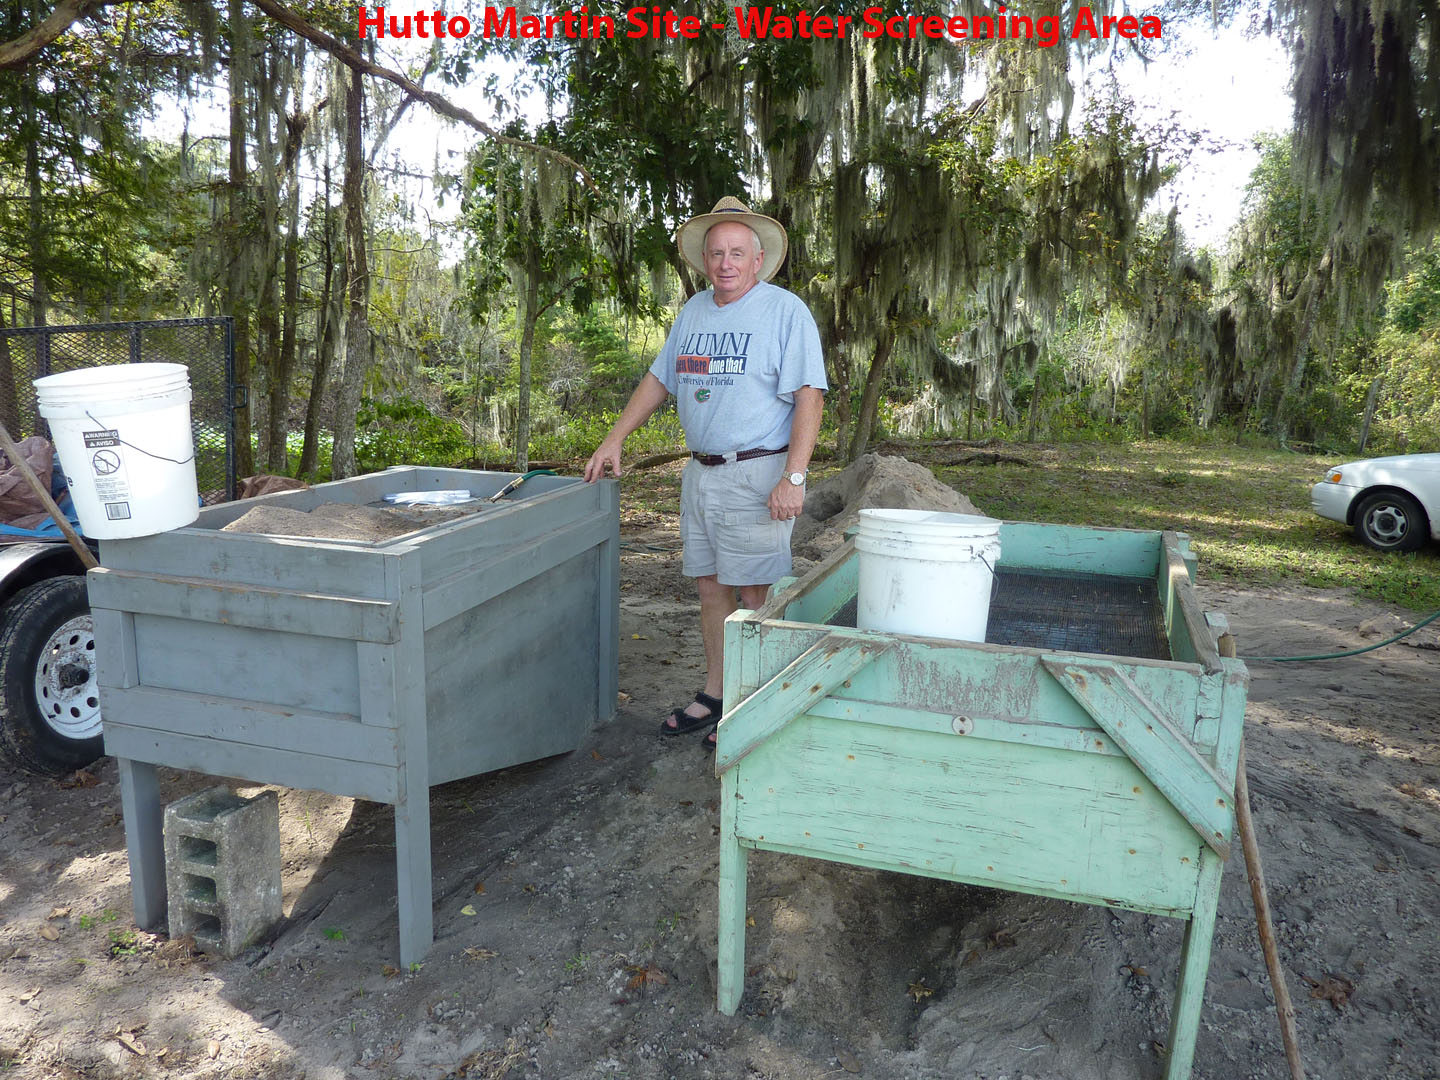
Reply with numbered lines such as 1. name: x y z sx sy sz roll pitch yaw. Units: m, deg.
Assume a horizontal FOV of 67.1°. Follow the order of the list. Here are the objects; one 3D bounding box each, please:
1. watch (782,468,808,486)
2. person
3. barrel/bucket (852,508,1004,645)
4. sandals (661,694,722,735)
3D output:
1. watch: 0.376 -0.301 5.379 0.081 0.061 0.087 -7 -9 -1
2. person: 0.017 -0.369 5.768 1.121 2.802 0.624 5 14 27
3. barrel/bucket: 0.804 0.109 4.193 0.470 0.520 0.480 4 5 0
4. sandals: -0.145 0.947 5.949 0.367 0.178 0.176 -6 8 -27
